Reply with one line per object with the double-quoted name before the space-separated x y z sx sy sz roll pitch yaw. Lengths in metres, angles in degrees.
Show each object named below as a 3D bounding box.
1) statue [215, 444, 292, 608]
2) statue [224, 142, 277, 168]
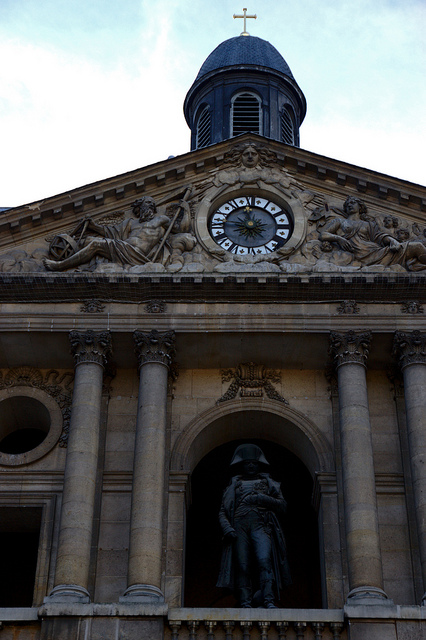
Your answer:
"statue" 0.898 4.860 21.136 1.404 4.180 1.055 -2 -39 3
"statue" 1.150 -5.011 27.296 1.458 0.813 0.306 1 -35 0
